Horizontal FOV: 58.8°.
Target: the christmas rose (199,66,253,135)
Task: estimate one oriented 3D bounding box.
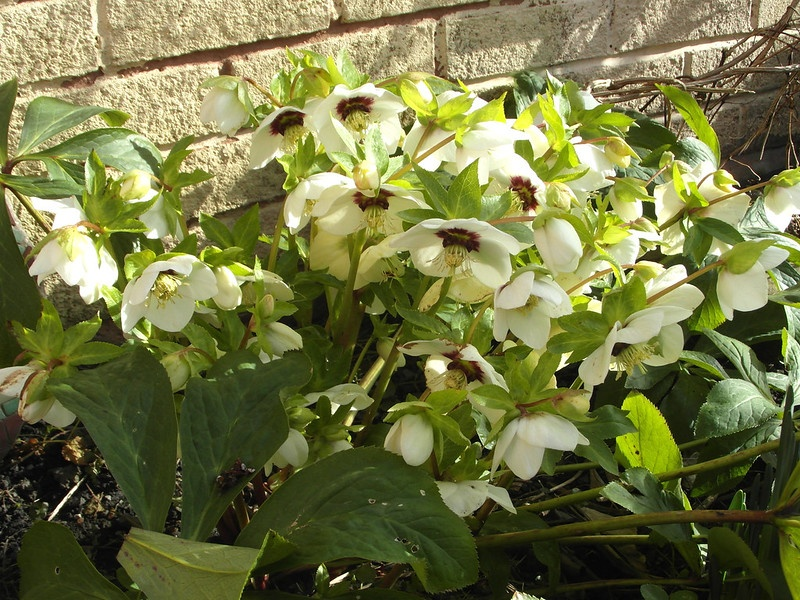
[{"bbox_3d":[-0.292,-0.322,1.191,0.078,0.094,0.073,-9,24,-19],"label":"christmas rose"}]

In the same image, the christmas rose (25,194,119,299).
[{"bbox_3d":[-0.500,-0.085,1.084,0.128,0.113,0.151,37,13,-36],"label":"christmas rose"}]

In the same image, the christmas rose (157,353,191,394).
[{"bbox_3d":[-0.317,0.104,1.019,0.047,0.052,0.015,6,-11,-28],"label":"christmas rose"}]
